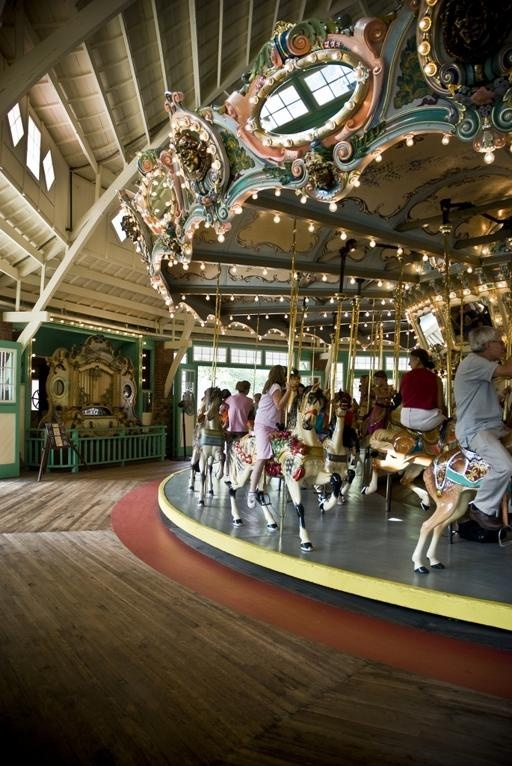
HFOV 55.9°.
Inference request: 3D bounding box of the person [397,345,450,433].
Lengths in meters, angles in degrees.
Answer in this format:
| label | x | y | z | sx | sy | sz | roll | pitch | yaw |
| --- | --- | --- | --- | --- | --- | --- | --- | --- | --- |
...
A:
| label | x | y | z | sx | sy | sz | roll | pitch | yaw |
| --- | --- | --- | --- | --- | --- | --- | --- | --- | --- |
| person | 1.470 | 0.090 | 4.344 | 0.337 | 0.754 | 0.458 | -4 | -18 | 30 |
